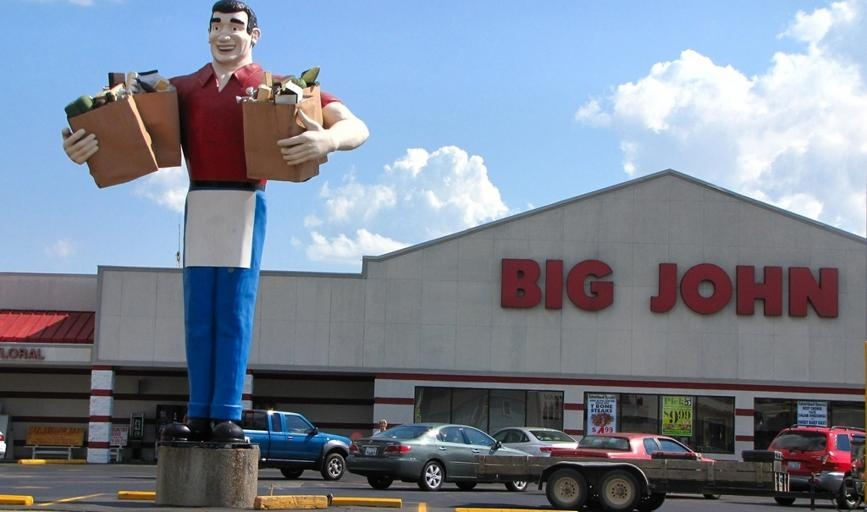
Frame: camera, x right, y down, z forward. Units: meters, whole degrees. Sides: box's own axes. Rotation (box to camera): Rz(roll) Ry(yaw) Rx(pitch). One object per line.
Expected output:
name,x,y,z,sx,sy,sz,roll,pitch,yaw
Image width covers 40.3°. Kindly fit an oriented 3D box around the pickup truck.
pickup truck,-6.062,7.242,44.530,6.105,2.153,2.748,8,-12,-32
